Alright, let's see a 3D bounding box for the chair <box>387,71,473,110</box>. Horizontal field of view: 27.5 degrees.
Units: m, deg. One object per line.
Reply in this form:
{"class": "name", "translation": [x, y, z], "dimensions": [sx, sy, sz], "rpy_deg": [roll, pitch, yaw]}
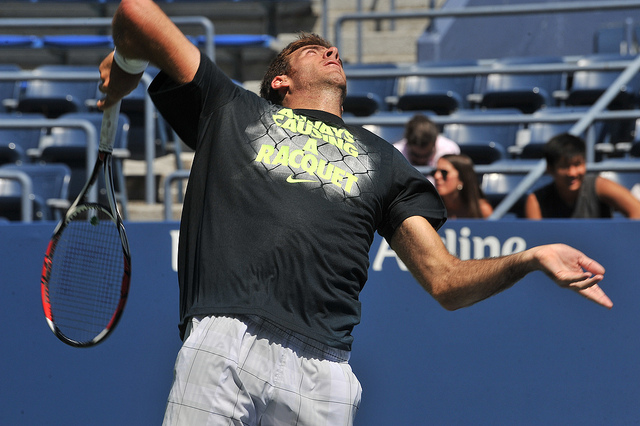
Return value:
{"class": "chair", "translation": [1.230, -1.346, 14.530], "dimensions": [0.901, 0.307, 0.416], "rpy_deg": [5, -10, -21]}

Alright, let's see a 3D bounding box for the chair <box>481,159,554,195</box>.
{"class": "chair", "translation": [1.907, -0.340, 12.946], "dimensions": [0.455, 0.595, 0.456], "rpy_deg": [3, -12, 2]}

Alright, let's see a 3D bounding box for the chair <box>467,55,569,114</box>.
{"class": "chair", "translation": [2.353, -0.978, 14.883], "dimensions": [0.800, 1.006, 1.025], "rpy_deg": [6, -4, 43]}

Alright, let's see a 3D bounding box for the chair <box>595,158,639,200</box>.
{"class": "chair", "translation": [2.782, -0.357, 12.380], "dimensions": [0.352, 0.418, 0.399], "rpy_deg": [-1, -7, 1]}

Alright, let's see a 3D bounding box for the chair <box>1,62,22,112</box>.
{"class": "chair", "translation": [-3.810, -1.545, 16.069], "dimensions": [0.249, 0.516, 2.248], "rpy_deg": [4, 8, -14]}

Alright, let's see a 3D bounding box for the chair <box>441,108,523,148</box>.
{"class": "chair", "translation": [1.703, -0.834, 14.024], "dimensions": [0.505, 0.536, 0.705], "rpy_deg": [5, -8, 9]}
